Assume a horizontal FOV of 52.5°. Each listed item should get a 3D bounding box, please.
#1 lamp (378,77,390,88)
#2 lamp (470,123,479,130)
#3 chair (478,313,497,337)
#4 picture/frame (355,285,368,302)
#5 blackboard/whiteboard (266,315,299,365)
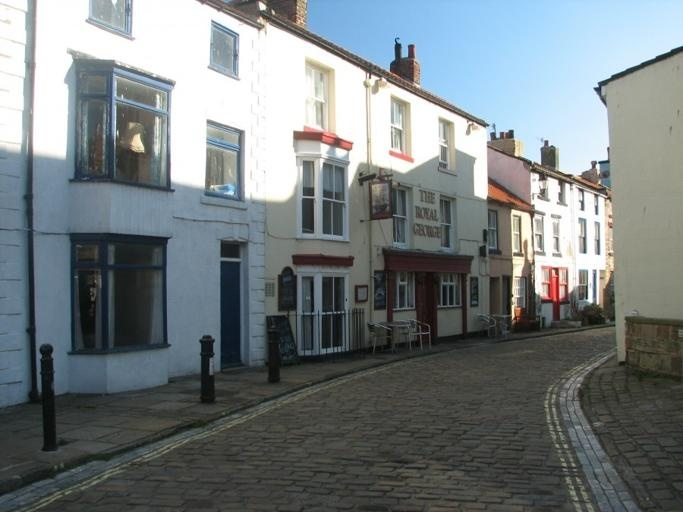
[{"bbox_3d":[1.359,-5.883,23.330,0.309,0.377,0.757,0,4,8],"label":"lamp"},{"bbox_3d":[5.433,-5.358,28.514,0.380,0.313,0.726,-1,-2,9],"label":"lamp"},{"bbox_3d":[6.018,2.782,28.560,0.777,1.056,0.893,-2,1,-12],"label":"chair"},{"bbox_3d":[0.615,1.179,22.106,0.083,0.593,0.733,2,5,30],"label":"picture/frame"},{"bbox_3d":[-1.688,2.365,19.369,0.937,1.503,0.173,0,24,-5],"label":"blackboard/whiteboard"}]
